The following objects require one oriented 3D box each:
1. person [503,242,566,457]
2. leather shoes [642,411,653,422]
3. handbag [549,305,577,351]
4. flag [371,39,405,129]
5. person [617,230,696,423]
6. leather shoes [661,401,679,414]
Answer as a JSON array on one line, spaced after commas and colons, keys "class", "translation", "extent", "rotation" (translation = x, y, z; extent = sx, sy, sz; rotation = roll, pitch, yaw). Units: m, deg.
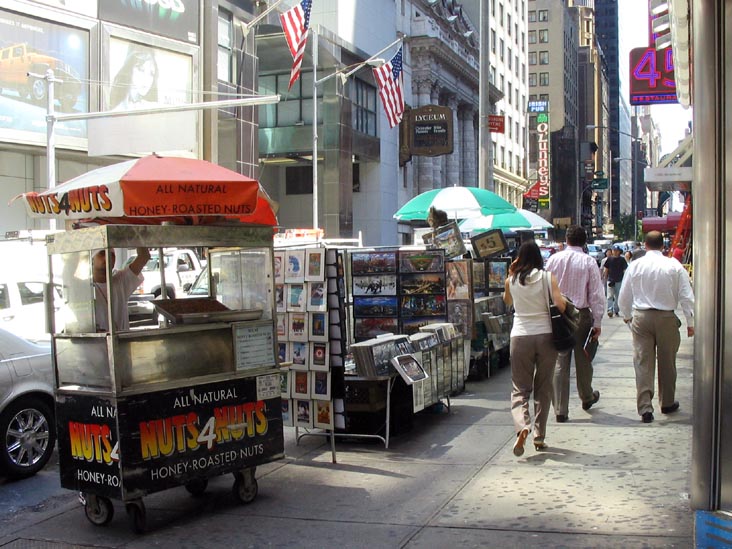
[{"class": "person", "translation": [1.985, 0.864, 9.679], "extent": [0.680, 2.444, 0.833], "rotation": [-2, 4, 9]}, {"class": "leather shoes", "translation": [3.645, 1.845, 10.831], "extent": [0.150, 0.128, 0.209], "rotation": [-1, 5, 19]}, {"class": "handbag", "translation": [2.249, 0.615, 9.575], "extent": [0.245, 0.630, 0.491], "rotation": [-2, 0, 41]}, {"class": "flag", "translation": [0.886, -6.709, 29.991], "extent": [0.884, 2.928, 2.261], "rotation": [-2, 4, 5]}, {"class": "person", "translation": [3.853, 0.668, 11.070], "extent": [0.935, 2.439, 1.014], "rotation": [0, 4, 30]}, {"class": "leather shoes", "translation": [4.118, 1.812, 11.319], "extent": [0.100, 0.142, 0.308], "rotation": [5, 18, 37]}]
